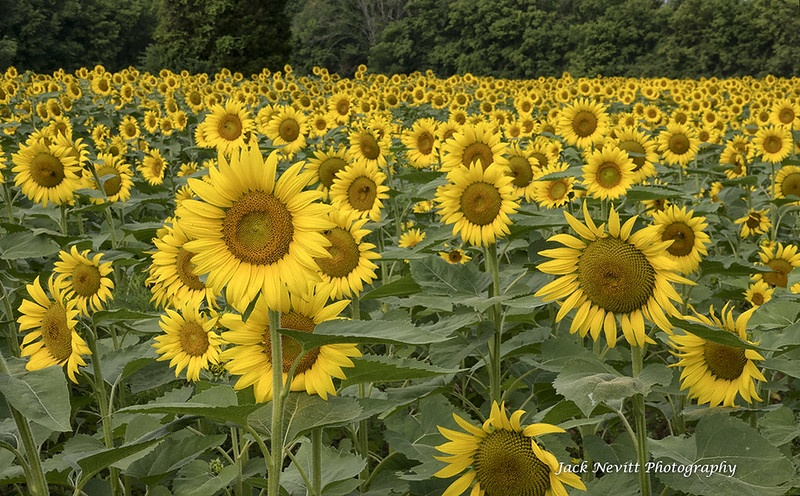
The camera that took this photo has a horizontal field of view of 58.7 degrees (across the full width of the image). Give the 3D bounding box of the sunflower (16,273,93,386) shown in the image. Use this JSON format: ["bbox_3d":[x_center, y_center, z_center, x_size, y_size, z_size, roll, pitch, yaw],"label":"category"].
[{"bbox_3d":[-2.431,0.620,5.010,0.413,0.762,0.736,-7,21,-29],"label":"sunflower"}]

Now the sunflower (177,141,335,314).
[{"bbox_3d":[-0.835,-0.127,4.145,0.872,0.962,0.229,39,28,-38],"label":"sunflower"}]

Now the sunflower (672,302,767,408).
[{"bbox_3d":[2.214,0.763,4.857,0.278,0.745,0.673,-12,9,-37],"label":"sunflower"}]

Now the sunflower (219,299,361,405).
[{"bbox_3d":[-0.682,0.591,4.412,0.972,0.685,0.214,-7,-6,-40],"label":"sunflower"}]

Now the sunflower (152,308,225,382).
[{"bbox_3d":[-1.542,0.660,5.165,0.553,0.571,0.367,3,18,1],"label":"sunflower"}]

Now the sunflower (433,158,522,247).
[{"bbox_3d":[0.609,-0.354,5.329,0.585,0.590,0.189,33,33,-46],"label":"sunflower"}]
